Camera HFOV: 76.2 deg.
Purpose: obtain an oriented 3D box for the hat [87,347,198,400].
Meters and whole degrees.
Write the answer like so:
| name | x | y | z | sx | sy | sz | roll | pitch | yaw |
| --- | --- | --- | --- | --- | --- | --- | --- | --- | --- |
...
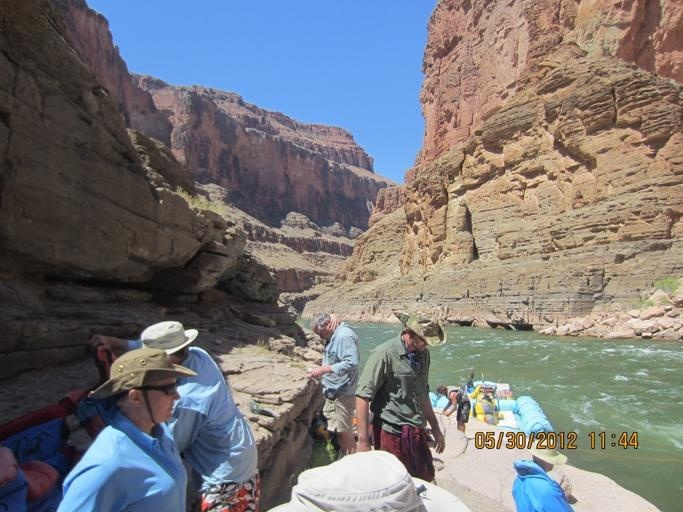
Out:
| name | x | y | z | sx | sy | sz | roll | pitch | yaw |
| --- | --- | --- | --- | --- | --- | --- | --- | --- | --- |
| hat | -1.765 | 0.991 | 3.864 | 0.885 | 0.319 | 0.766 | -5 | -2 | -2 |

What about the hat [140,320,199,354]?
| name | x | y | z | sx | sy | sz | roll | pitch | yaw |
| --- | --- | --- | --- | --- | --- | --- | --- | --- | --- |
| hat | -1.757 | 0.809 | 4.383 | 0.720 | 0.215 | 0.653 | 6 | -8 | -13 |

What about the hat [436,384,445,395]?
| name | x | y | z | sx | sy | sz | roll | pitch | yaw |
| --- | --- | --- | --- | --- | --- | --- | --- | --- | --- |
| hat | 2.088 | 2.764 | 9.070 | 0.179 | 0.135 | 0.152 | -3 | -38 | -8 |

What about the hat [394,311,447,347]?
| name | x | y | z | sx | sy | sz | roll | pitch | yaw |
| --- | --- | --- | --- | --- | --- | --- | --- | --- | --- |
| hat | 0.995 | 0.738 | 5.015 | 0.563 | 0.213 | 0.581 | 2 | 22 | -17 |

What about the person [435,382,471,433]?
| name | x | y | z | sx | sy | sz | roll | pitch | yaw |
| --- | --- | --- | --- | --- | --- | --- | --- | --- | --- |
| person | 2.067 | 2.700 | 7.775 | 0.648 | 1.017 | 0.497 | -9 | -32 | 16 |
